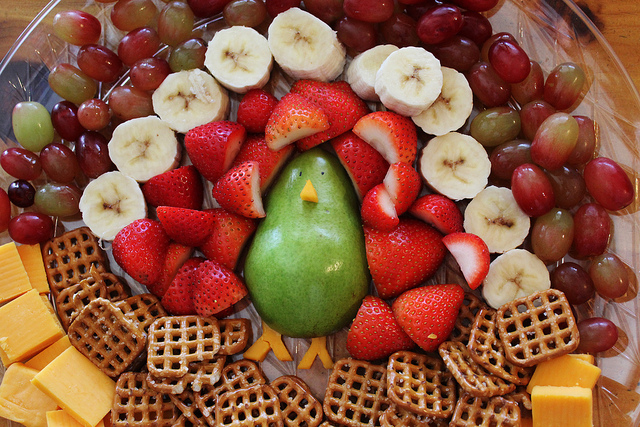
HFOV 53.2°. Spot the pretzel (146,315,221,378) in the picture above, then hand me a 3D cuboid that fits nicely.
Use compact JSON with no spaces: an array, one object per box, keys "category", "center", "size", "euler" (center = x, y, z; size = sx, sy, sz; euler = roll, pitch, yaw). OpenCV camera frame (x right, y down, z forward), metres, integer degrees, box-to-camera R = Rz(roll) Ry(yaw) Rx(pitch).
[{"category":"pretzel","center":[-0.524,0.535,2.455],"size":[0.226,0.057,0.249],"euler":[-2,73,-4]}]

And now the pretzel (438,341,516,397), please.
[{"category":"pretzel","center":[0.583,0.570,2.360],"size":[0.200,0.058,0.214],"euler":[10,37,-41]}]

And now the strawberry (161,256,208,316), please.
[{"category":"strawberry","center":[-0.533,0.292,2.550],"size":[0.157,0.130,0.230],"euler":[27,106,26]}]

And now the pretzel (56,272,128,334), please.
[{"category":"pretzel","center":[-0.902,0.358,2.464],"size":[0.237,0.059,0.234],"euler":[-33,84,-9]}]

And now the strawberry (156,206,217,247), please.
[{"category":"strawberry","center":[-0.515,0.040,2.434],"size":[0.158,0.157,0.113],"euler":[36,40,-21]}]

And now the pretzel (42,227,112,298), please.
[{"category":"pretzel","center":[-0.964,0.228,2.565],"size":[0.292,0.076,0.279],"euler":[48,111,8]}]

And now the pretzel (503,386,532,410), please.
[{"category":"pretzel","center":[0.741,0.686,2.380],"size":[0.068,0.074,0.020],"euler":[-3,109,2]}]

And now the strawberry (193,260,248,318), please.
[{"category":"strawberry","center":[-0.408,0.275,2.454],"size":[0.213,0.078,0.194],"euler":[-30,83,-9]}]

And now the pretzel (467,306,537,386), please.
[{"category":"pretzel","center":[0.678,0.518,2.380],"size":[0.251,0.071,0.277],"euler":[26,79,7]}]

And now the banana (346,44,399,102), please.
[{"category":"banana","center":[0.184,-0.551,2.480],"size":[0.188,0.048,0.210],"euler":[6,91,-25]}]

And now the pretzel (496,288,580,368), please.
[{"category":"pretzel","center":[0.813,0.429,2.389],"size":[0.296,0.152,0.254],"euler":[-16,81,-7]}]

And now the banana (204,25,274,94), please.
[{"category":"banana","center":[-0.322,-0.618,2.503],"size":[0.243,0.055,0.236],"euler":[40,79,3]}]

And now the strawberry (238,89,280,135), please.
[{"category":"strawberry","center":[-0.248,-0.402,2.577],"size":[0.154,0.142,0.187],"euler":[17,81,13]}]

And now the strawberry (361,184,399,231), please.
[{"category":"strawberry","center":[0.254,-0.039,2.475],"size":[0.150,0.129,0.222],"euler":[14,33,4]}]

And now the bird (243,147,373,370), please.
[{"category":"bird","center":[-0.027,0.153,2.611],"size":[0.453,0.435,0.889],"euler":[2,90,8]}]

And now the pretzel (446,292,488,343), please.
[{"category":"pretzel","center":[0.599,0.379,2.503],"size":[0.038,0.183,0.190],"euler":[-32,50,29]}]

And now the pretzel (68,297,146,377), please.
[{"category":"pretzel","center":[-0.821,0.478,2.476],"size":[0.279,0.142,0.225],"euler":[40,79,4]}]
